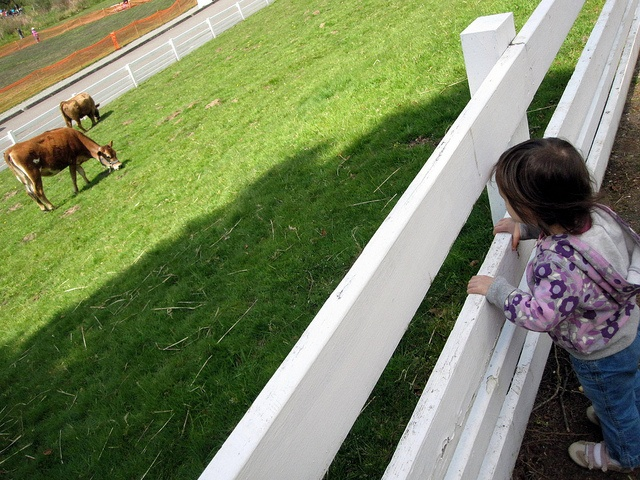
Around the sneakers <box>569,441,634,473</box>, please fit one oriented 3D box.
[{"bbox_3d":[1.616,1.224,2.844,0.305,0.133,0.162,5,86,19],"label":"sneakers"}]

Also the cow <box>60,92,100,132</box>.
[{"bbox_3d":[-8.051,-4.355,16.779,0.600,1.169,2.034,-5,25,11],"label":"cow"}]
